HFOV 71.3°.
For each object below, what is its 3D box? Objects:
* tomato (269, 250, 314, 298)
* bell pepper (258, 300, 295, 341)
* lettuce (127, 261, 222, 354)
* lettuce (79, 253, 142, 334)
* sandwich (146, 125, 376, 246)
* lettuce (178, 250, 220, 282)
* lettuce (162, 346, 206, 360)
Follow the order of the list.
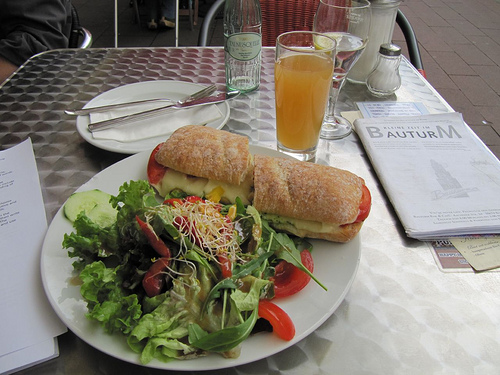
[{"bbox_3d":[0.086,0.196,0.790,0.093,0.069,0.125,18,25,2],"label":"tomato"},{"bbox_3d":[0.055,0.260,0.686,0.038,0.022,0.076,-16,41,-27],"label":"bell pepper"},{"bbox_3d":[-0.149,0.242,0.686,0.113,0.048,0.172,15,50,1],"label":"lettuce"},{"bbox_3d":[-0.280,0.216,0.692,0.131,0.053,0.132,33,50,-3],"label":"lettuce"},{"bbox_3d":[0.015,0.038,0.987,0.583,0.164,0.272,17,39,16],"label":"sandwich"},{"bbox_3d":[-0.111,0.167,0.731,0.099,0.031,0.066,18,23,35],"label":"lettuce"},{"bbox_3d":[-0.120,0.307,0.653,0.087,0.024,0.026,1,40,-12],"label":"lettuce"}]
